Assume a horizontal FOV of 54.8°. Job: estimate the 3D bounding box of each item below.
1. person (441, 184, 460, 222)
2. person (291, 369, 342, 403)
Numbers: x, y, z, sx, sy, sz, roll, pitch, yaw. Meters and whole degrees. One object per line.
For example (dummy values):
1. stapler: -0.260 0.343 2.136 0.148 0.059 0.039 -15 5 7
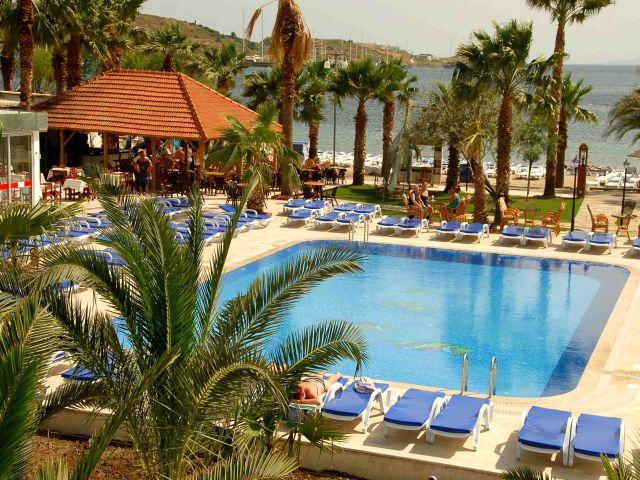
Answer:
1. person: 5.027 -1.352 23.587 0.549 1.607 0.813 -13 21 -37
2. person: -0.049 2.173 9.472 0.482 0.280 0.836 -4 12 24
